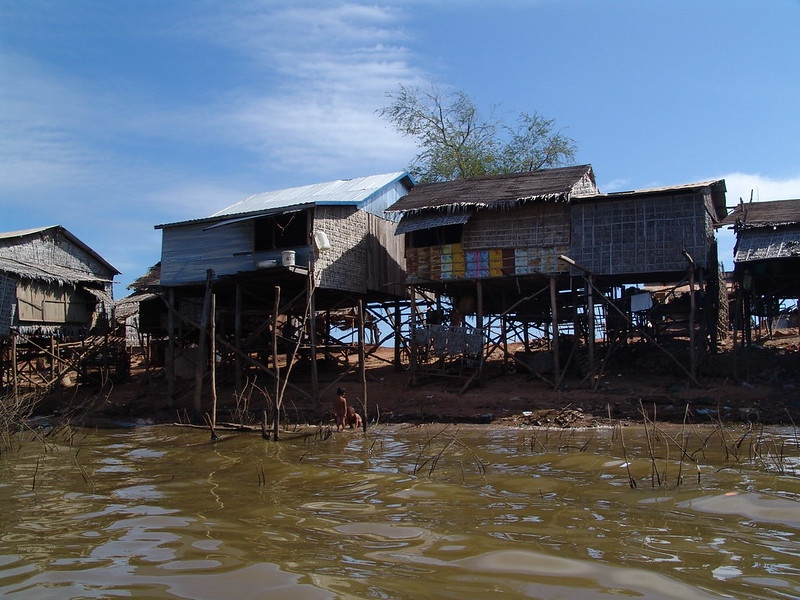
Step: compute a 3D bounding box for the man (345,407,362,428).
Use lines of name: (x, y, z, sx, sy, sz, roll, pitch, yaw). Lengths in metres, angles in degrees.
man: (-1.154, 2.899, 23.891, 0.381, 0.498, 0.587, -6, 4, -4)

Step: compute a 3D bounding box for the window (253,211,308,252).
window: (-3.748, -2.123, 29.369, 2.624, 1.161, 0.259, -6, -5, 39)
